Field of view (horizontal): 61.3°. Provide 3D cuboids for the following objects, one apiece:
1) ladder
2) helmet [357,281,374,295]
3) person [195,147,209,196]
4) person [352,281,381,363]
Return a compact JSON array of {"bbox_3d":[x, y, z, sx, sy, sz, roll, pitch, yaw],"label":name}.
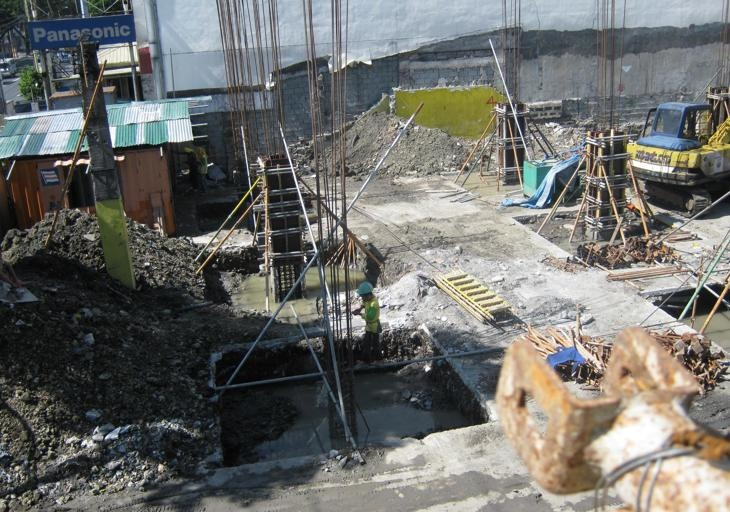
[{"bbox_3d":[2.116,0.749,12.204,0.646,0.250,1.385,-8,26,-19],"label":"ladder"},{"bbox_3d":[0.007,0.554,10.948,0.192,0.144,0.252,12,9,40],"label":"helmet"},{"bbox_3d":[-5.721,-3.048,21.468,0.344,1.441,1.215,-3,12,-15],"label":"person"},{"bbox_3d":[0.045,1.203,11.139,0.487,1.489,0.620,0,11,0],"label":"person"}]
